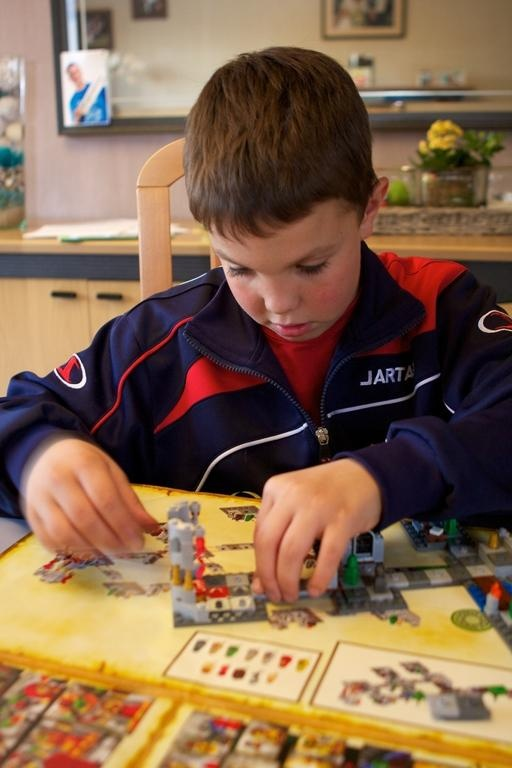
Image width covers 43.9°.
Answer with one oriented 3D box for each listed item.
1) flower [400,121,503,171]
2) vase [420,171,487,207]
[{"bbox_3d":[0.604,-0.725,1.922,0.195,0.132,0.206,-15,16,35],"label":"flower"},{"bbox_3d":[0.576,-0.558,1.868,0.129,0.077,0.127,-2,16,-1],"label":"vase"}]
